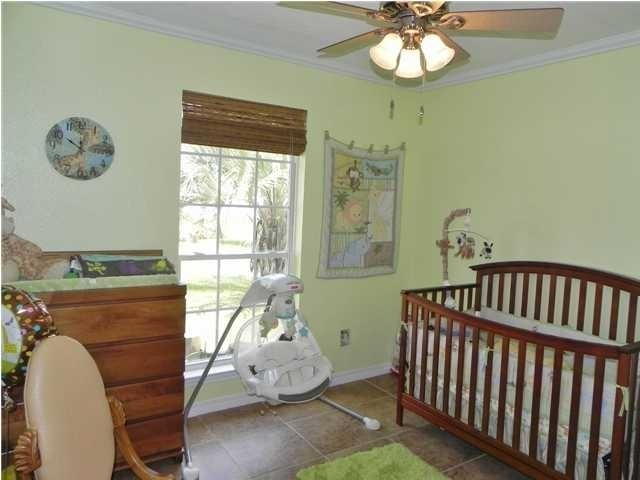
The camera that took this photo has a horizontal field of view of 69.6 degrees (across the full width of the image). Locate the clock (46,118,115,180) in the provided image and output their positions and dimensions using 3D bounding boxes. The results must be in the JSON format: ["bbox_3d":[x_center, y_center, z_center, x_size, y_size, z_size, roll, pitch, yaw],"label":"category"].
[{"bbox_3d":[-1.573,-0.596,2.981,0.413,0.406,0.092,-1,5,-38],"label":"clock"}]

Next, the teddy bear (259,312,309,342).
[{"bbox_3d":[-0.209,0.457,2.579,0.267,0.125,0.206,-6,-17,44],"label":"teddy bear"}]

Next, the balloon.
[{"bbox_3d":[-1.330,0.455,2.042,0.395,0.446,0.188,0,7,44],"label":"balloon"}]
